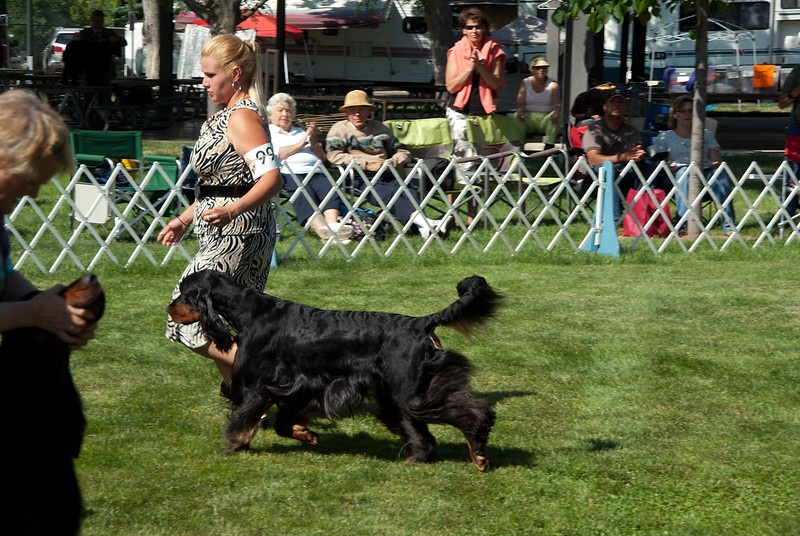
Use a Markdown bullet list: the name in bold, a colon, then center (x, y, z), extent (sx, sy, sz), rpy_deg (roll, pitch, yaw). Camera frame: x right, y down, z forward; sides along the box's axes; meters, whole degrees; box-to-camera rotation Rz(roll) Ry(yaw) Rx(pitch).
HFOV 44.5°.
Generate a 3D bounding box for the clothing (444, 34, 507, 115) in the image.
- **clothing**: center (0.889, -2.405, 12.143), extent (0.956, 0.819, 0.348), rpy_deg (1, 7, 0)

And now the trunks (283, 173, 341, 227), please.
- **trunks**: center (-1.026, -0.779, 10.785), extent (0.868, 0.533, 0.230), rpy_deg (3, -23, -26)

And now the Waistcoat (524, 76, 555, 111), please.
- **Waistcoat**: center (1.914, -2.388, 13.471), extent (0.412, 0.470, 0.190), rpy_deg (2, 10, 5)

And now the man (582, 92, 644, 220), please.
- **man**: center (2.542, -1.597, 11.429), extent (0.700, 0.882, 0.618), rpy_deg (0, 9, -6)

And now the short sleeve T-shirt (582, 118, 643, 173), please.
- **short sleeve T-shirt**: center (2.754, -1.477, 11.611), extent (0.931, 0.497, 0.439), rpy_deg (9, 38, 32)

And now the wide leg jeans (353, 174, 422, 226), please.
- **wide leg jeans**: center (-0.159, -0.800, 11.158), extent (0.658, 0.571, 0.938), rpy_deg (0, 8, -6)

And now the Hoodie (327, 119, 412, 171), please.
- **Hoodie**: center (-0.442, -1.480, 11.478), extent (0.653, 0.539, 1.194), rpy_deg (18, 19, 42)

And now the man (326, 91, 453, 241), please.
- **man**: center (-0.039, -1.157, 11.083), extent (1.049, 1.064, 1.929), rpy_deg (-22, 46, -22)

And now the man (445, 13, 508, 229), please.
- **man**: center (0.913, -2.269, 12.013), extent (0.698, 1.777, 0.646), rpy_deg (2, 10, 2)

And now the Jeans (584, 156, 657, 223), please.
- **Jeans**: center (2.451, -0.803, 11.712), extent (0.949, 0.627, 0.985), rpy_deg (13, -18, 6)

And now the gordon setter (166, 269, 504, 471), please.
- **gordon setter**: center (-0.442, 0.592, 5.903), extent (2.289, 0.840, 0.509), rpy_deg (6, -8, 17)
